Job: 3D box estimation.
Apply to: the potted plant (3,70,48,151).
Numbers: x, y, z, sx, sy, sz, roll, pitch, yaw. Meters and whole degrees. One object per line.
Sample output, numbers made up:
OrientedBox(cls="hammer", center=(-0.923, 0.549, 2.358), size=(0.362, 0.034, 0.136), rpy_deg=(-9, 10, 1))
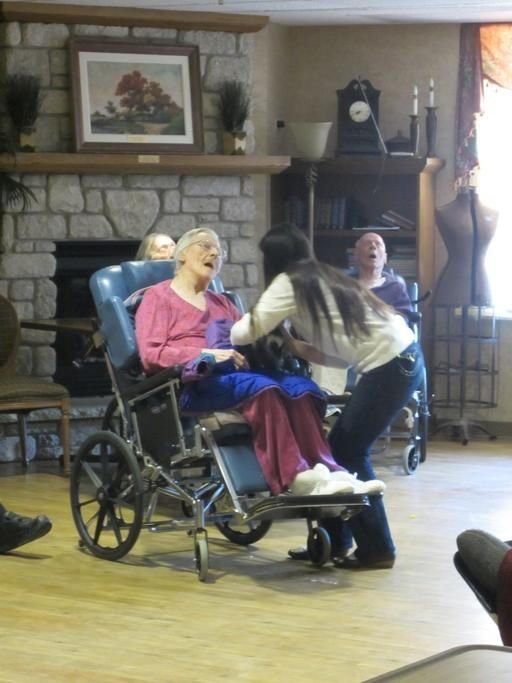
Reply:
OrientedBox(cls="potted plant", center=(-1.347, -1.306, 4.848), size=(0.226, 0.456, 0.184), rpy_deg=(-1, 3, -12))

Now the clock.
OrientedBox(cls="clock", center=(0.670, -1.466, 5.562), size=(0.284, 0.514, 0.152), rpy_deg=(0, 3, 4))

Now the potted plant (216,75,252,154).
OrientedBox(cls="potted plant", center=(-0.134, -1.384, 5.260), size=(0.193, 0.486, 0.191), rpy_deg=(-1, 2, -7))

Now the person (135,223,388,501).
OrientedBox(cls="person", center=(-0.037, 0.024, 2.772), size=(0.573, 0.851, 0.908), rpy_deg=(-2, 2, -25))

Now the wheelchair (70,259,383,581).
OrientedBox(cls="wheelchair", center=(-0.119, 0.269, 2.867), size=(0.668, 0.950, 1.095), rpy_deg=(0, -3, -34))

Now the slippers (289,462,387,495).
OrientedBox(cls="slippers", center=(0.247, 0.415, 2.485), size=(0.304, 0.096, 0.179), rpy_deg=(-1, 2, -10))

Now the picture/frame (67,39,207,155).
OrientedBox(cls="picture/frame", center=(-0.748, -1.448, 5.040), size=(0.931, 0.634, 0.096), rpy_deg=(-2, 5, -19))

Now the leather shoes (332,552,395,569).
OrientedBox(cls="leather shoes", center=(0.359, 0.717, 2.809), size=(0.198, 0.060, 0.066), rpy_deg=(3, -6, 10))
